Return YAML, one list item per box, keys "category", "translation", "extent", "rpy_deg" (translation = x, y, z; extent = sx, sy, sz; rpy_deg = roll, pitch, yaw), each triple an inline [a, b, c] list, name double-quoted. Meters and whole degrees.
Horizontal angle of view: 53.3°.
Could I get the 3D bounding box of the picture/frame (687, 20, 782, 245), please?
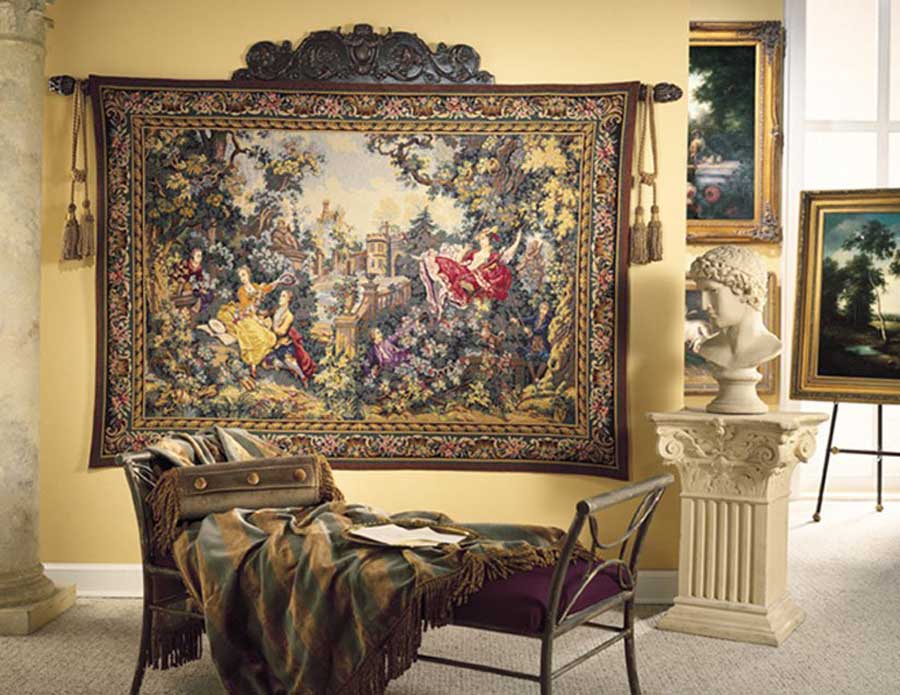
- category: "picture/frame"
  translation: [2.173, -1.613, 6.850]
  extent: [0.739, 1.638, 0.467]
  rpy_deg: [-1, 6, 6]
